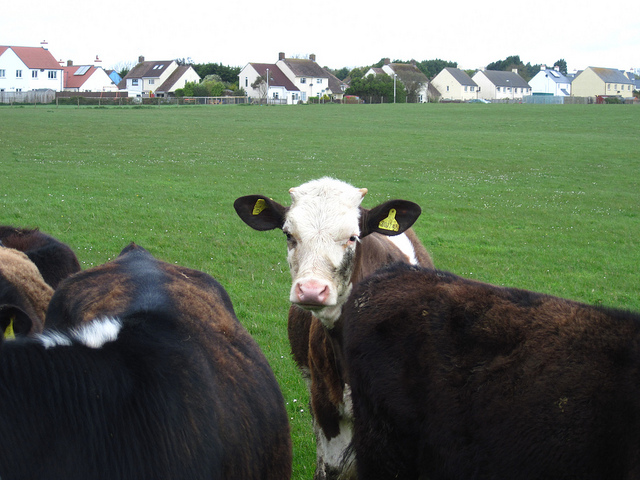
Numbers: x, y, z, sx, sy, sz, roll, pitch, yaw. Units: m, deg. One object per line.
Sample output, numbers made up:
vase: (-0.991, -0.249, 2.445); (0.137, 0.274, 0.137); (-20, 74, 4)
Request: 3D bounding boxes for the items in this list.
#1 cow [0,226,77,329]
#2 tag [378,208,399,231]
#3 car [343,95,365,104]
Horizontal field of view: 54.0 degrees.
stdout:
cow: (-3.249, 0.375, 7.364); (0.693, 1.269, 2.067); (-2, 8, -16)
tag: (0.689, -0.212, 6.474); (0.158, 0.202, 0.008); (17, -13, 0)
car: (5.283, -22.334, 97.986); (2.570, 1.617, 1.731); (0, 9, 14)
